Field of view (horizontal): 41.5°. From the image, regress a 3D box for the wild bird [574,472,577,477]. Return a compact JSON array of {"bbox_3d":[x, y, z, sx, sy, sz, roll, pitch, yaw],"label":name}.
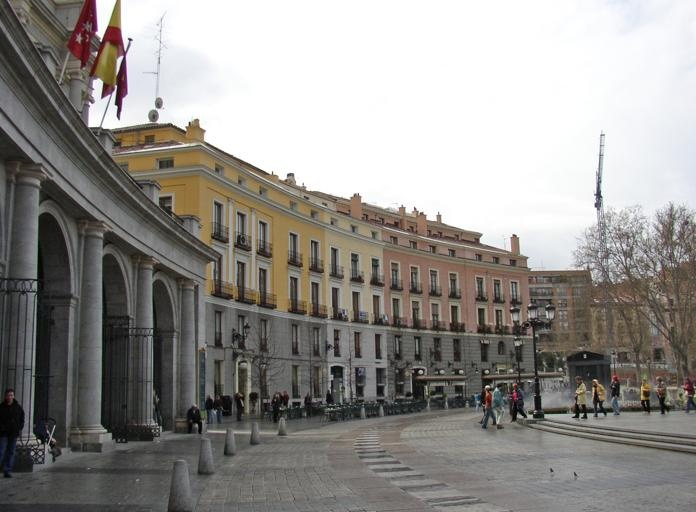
[{"bbox_3d":[6.074,5.889,24.670,0.054,0.131,0.058,-13,-55,-4],"label":"wild bird"}]
